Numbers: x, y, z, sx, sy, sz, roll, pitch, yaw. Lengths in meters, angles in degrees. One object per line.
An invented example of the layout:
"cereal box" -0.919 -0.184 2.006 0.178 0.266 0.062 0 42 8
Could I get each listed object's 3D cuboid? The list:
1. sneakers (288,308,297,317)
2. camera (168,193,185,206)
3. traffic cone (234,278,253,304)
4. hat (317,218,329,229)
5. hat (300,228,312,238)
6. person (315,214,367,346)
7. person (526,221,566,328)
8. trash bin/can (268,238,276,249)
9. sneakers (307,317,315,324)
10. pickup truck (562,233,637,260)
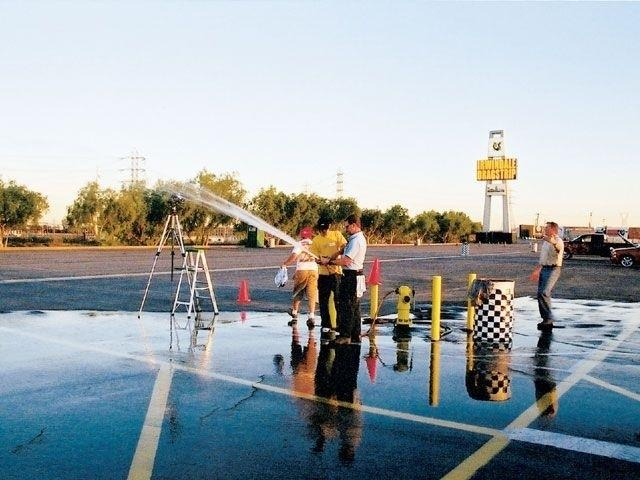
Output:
"sneakers" -0.600 1.595 11.571 0.136 0.191 0.417 1 -5 -15
"camera" -3.129 -0.891 11.399 0.249 0.258 0.424 17 -5 -17
"traffic cone" -2.150 1.408 14.722 0.630 0.769 0.654 1 -2 -7
"hat" 0.045 -0.323 10.280 0.331 0.191 0.420 -1 1 -3
"hat" -0.309 -0.138 11.040 0.218 0.189 0.371 19 12 -3
"person" 0.499 0.686 9.482 0.614 2.283 0.607 0 2 -6
"person" 4.727 0.734 11.014 0.556 2.206 1.172 1 2 23
"trash bin/can" -5.414 0.272 58.490 0.897 1.072 0.920 -1 3 -19
"sneakers" -0.216 1.694 11.036 0.110 0.118 0.110 -1 -7 4
"pickup truck" 19.980 0.442 37.619 4.648 1.885 2.440 2 1 14
